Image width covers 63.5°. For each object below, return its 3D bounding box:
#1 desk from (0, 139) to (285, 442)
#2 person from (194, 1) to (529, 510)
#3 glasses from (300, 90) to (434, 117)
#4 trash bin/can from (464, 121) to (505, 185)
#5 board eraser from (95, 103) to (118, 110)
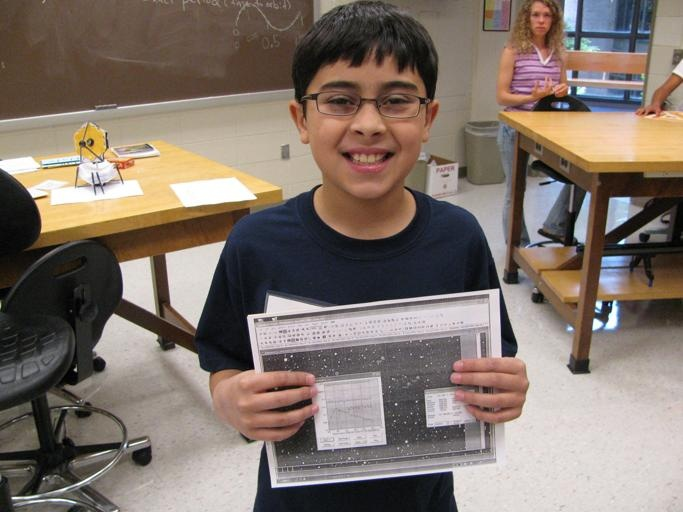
[{"bbox_3d":[-0.876,-0.050,2.531,0.988,0.985,1.003,-14,33,-25],"label":"desk"},{"bbox_3d":[0.022,0.089,1.226,0.697,1.114,0.595,-9,31,-11],"label":"person"},{"bbox_3d":[0.037,-0.304,1.107,0.234,0.052,0.064,2,32,6],"label":"glasses"},{"bbox_3d":[1.435,-1.048,5.615,0.454,0.523,0.475,6,18,19],"label":"trash bin/can"},{"bbox_3d":[-1.591,-1.008,3.745,0.151,0.044,0.023,-25,37,-31],"label":"board eraser"}]
